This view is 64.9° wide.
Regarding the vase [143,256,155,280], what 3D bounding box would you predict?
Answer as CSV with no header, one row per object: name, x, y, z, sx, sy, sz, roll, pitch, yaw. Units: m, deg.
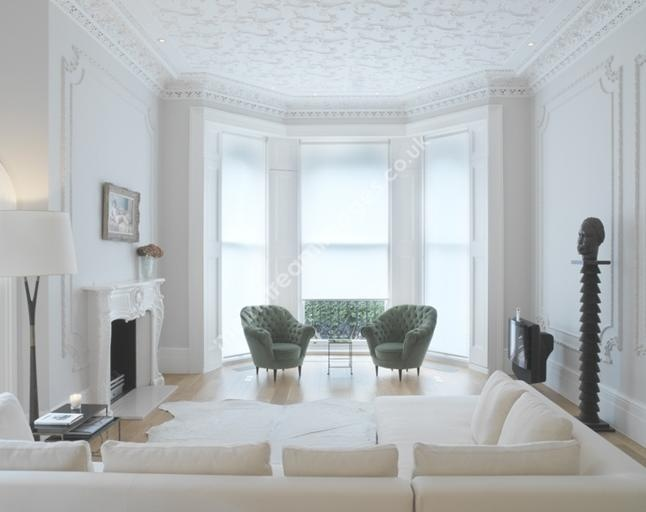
vase,-2.094,0.131,6.098,0.123,0.270,0.121,-1,2,-28

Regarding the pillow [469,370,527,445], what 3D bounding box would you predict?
pillow,1.259,1.150,3.693,0.295,0.571,0.801,10,-2,11

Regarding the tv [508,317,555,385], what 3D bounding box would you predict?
tv,2.313,1.039,5.673,0.344,0.652,0.476,-1,5,-6

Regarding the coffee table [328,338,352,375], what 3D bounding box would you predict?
coffee table,0.255,1.460,7.518,0.372,0.459,0.483,1,-3,3

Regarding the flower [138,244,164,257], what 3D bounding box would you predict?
flower,-2.088,-0.066,6.069,0.201,0.112,0.159,2,4,35
